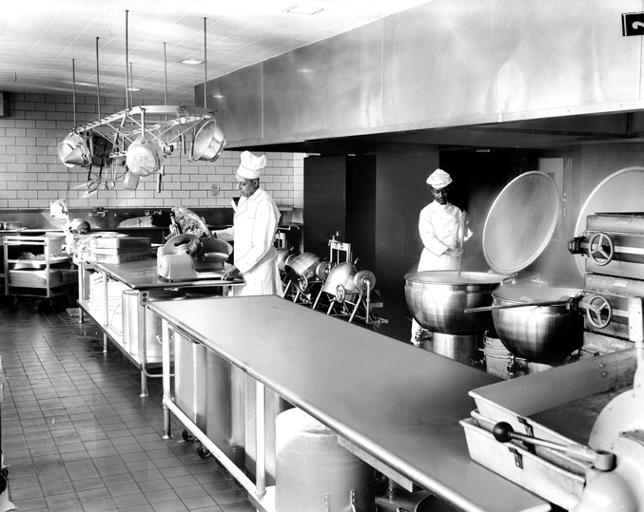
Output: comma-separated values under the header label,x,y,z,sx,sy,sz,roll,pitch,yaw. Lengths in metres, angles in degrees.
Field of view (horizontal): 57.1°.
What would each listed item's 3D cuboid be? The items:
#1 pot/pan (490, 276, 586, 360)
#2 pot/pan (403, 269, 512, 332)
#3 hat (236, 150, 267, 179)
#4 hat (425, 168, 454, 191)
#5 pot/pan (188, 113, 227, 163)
label,x,y,z,sx,sy,sz,roll,pitch,yaw
pot/pan,1.004,0.296,2.823,0.346,0.265,0.399,1,-4,-4
pot/pan,0.703,0.265,3.469,0.405,0.221,0.422,0,-1,-17
hat,-0.544,-0.708,4.622,0.198,0.224,0.260,2,9,22
hat,0.911,-0.591,4.606,0.159,0.161,0.142,2,9,24
pot/pan,-0.927,-0.944,4.785,0.293,0.337,0.355,0,9,16
